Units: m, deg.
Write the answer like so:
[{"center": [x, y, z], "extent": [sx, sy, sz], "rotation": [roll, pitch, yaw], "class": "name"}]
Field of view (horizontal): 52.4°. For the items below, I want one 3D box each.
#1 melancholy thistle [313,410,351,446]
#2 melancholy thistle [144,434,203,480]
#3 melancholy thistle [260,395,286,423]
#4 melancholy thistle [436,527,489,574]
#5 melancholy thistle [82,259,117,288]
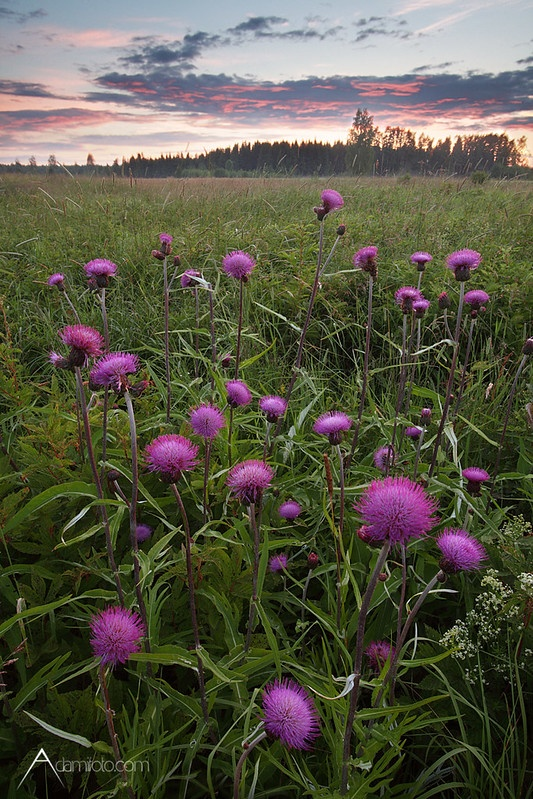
[{"center": [0.190, 0.110, 1.681], "extent": [0.117, 0.119, 0.120], "rotation": [5, 17, 30], "class": "melancholy thistle"}, {"center": [-0.234, 0.149, 1.385], "extent": [0.128, 0.125, 0.125], "rotation": [-5, 20, -27], "class": "melancholy thistle"}, {"center": [0.027, 0.035, 1.950], "extent": [0.101, 0.101, 0.099], "rotation": [-6, 9, -34], "class": "melancholy thistle"}, {"center": [0.447, 0.363, 1.269], "extent": [0.118, 0.076, 0.085], "rotation": [-5, 24, -20], "class": "melancholy thistle"}, {"center": [-0.620, -0.467, 2.016], "extent": [0.092, 0.100, 0.257], "rotation": [-4, 24, -19], "class": "melancholy thistle"}]
